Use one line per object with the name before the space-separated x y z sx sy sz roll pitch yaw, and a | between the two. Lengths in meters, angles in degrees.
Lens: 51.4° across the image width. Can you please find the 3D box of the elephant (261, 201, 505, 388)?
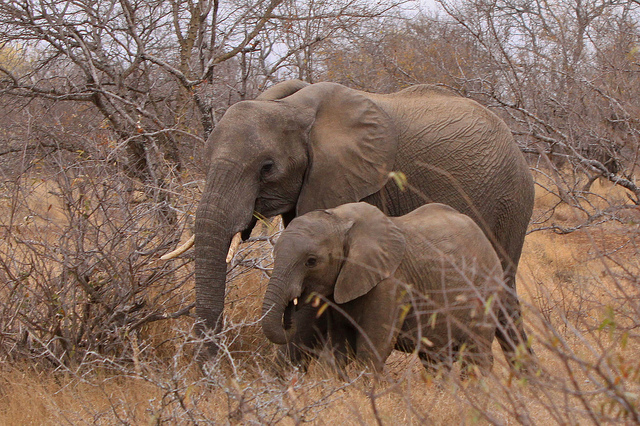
elephant | 0.551 0.608 6.097 2.115 1.881 1.934 2 -16 1

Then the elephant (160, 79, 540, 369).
elephant | 0.405 0.220 7.609 4.604 3.052 2.089 2 -1 -26
